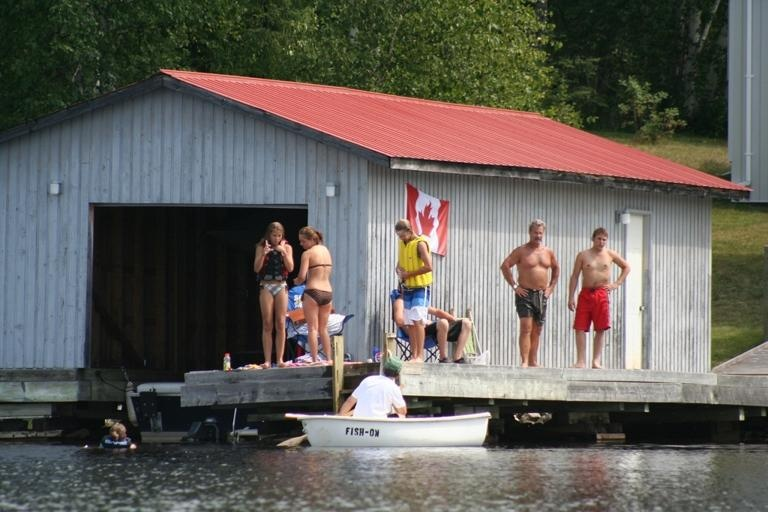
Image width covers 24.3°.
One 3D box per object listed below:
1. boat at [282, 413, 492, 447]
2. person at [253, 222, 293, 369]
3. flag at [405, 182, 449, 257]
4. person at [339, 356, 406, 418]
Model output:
[{"bbox_3d":[0.310,4.353,43.764,4.411,0.880,1.700,-3,6,-4],"label":"boat"},{"bbox_3d":[-2.760,0.911,44.497,1.143,3.603,1.128,5,-11,-36],"label":"person"},{"bbox_3d":[1.089,-0.949,46.346,0.946,1.973,0.844,1,1,-8],"label":"flag"},{"bbox_3d":[-0.225,3.203,43.735,1.449,1.488,0.428,0,-4,0],"label":"person"}]
